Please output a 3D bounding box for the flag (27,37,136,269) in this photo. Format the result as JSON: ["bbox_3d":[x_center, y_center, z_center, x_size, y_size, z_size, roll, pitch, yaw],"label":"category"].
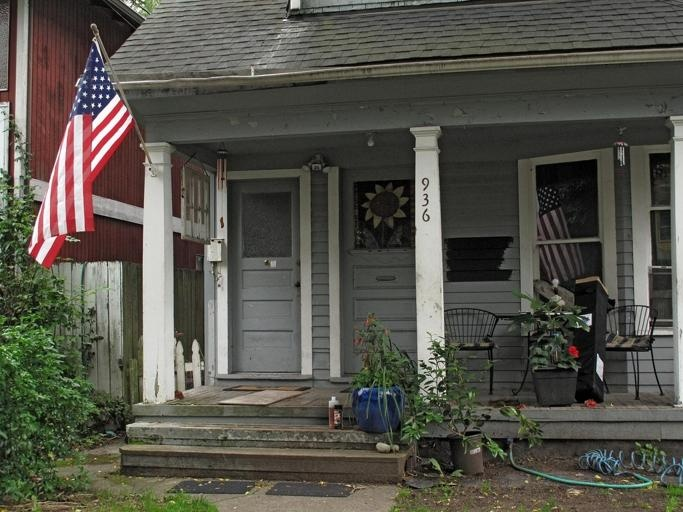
[{"bbox_3d":[-2.807,-1.152,9.846,1.029,2.490,0.509,1,-6,-15],"label":"flag"}]

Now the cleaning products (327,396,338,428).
[{"bbox_3d":[-0.086,1.718,9.903,0.094,0.319,0.112,-1,-6,3],"label":"cleaning products"}]

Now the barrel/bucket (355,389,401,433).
[{"bbox_3d":[0.395,1.628,9.590,0.463,0.390,0.479,0,-8,0],"label":"barrel/bucket"}]

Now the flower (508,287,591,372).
[{"bbox_3d":[2.346,0.900,10.268,0.902,0.954,0.799,1,-11,3],"label":"flower"}]

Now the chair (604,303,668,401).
[{"bbox_3d":[3.372,1.082,10.511,0.629,0.926,0.617,-3,1,40],"label":"chair"}]

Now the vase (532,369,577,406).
[{"bbox_3d":[2.381,1.456,10.147,0.529,0.406,0.414,-1,-7,-2],"label":"vase"}]

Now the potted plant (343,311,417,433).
[{"bbox_3d":[0.408,1.342,9.864,0.709,1.090,0.745,-1,-4,28],"label":"potted plant"}]

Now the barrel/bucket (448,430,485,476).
[{"bbox_3d":[1.348,2.104,9.721,0.424,0.427,0.395,-6,4,0],"label":"barrel/bucket"}]
